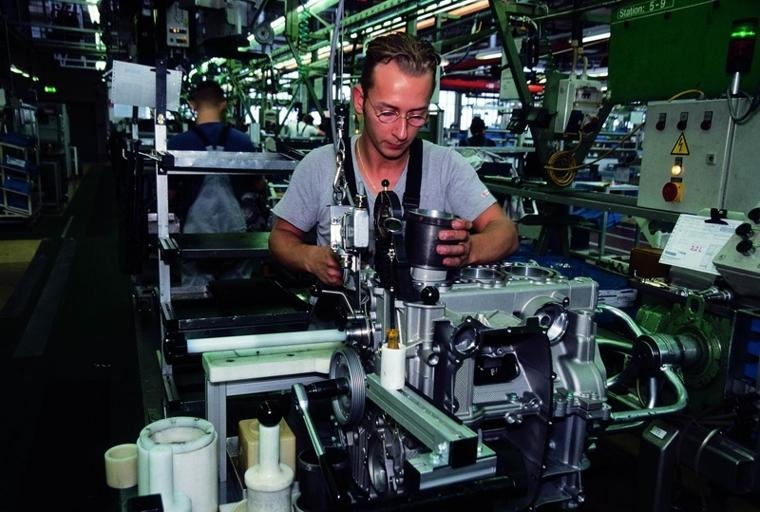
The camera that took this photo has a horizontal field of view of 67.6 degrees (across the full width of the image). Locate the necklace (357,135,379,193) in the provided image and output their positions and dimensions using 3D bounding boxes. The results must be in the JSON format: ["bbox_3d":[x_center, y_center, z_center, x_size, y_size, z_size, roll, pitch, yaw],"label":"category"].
[{"bbox_3d":[-0.049,-0.425,2.602,0.061,0.252,0.176,-3,14,21],"label":"necklace"}]

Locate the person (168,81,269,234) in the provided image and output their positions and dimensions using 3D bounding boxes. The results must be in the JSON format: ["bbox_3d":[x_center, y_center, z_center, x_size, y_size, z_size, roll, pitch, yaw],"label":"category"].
[{"bbox_3d":[-1.440,-0.521,4.845,0.683,1.857,0.581,-6,34,-26],"label":"person"}]

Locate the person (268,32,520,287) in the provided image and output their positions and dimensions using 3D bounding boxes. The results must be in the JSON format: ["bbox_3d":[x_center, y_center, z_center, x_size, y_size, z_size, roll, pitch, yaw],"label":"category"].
[{"bbox_3d":[0.004,-0.429,2.440,1.062,0.990,0.910,8,15,29],"label":"person"}]

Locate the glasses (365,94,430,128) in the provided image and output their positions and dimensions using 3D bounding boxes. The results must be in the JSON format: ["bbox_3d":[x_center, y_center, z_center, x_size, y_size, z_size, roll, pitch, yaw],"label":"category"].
[{"bbox_3d":[0.067,-0.579,2.289,0.249,0.116,0.095,1,13,3],"label":"glasses"}]
